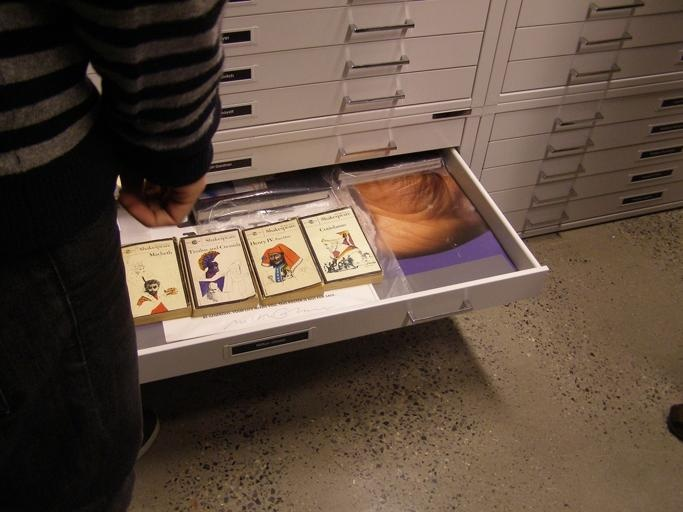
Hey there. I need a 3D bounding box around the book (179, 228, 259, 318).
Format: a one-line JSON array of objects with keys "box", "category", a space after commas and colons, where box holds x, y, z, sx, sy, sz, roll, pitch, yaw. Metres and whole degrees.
[{"box": [-0.314, 0.068, 1.361, 0.161, 0.051, 0.219, -10, 55, -14], "category": "book"}]

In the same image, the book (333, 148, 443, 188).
[{"box": [0.132, -0.265, 1.624, 0.184, 0.042, 0.168, -10, 24, -10], "category": "book"}]
